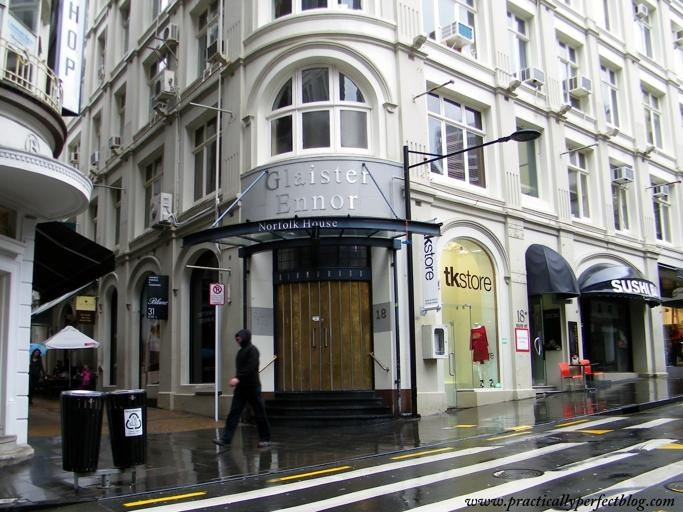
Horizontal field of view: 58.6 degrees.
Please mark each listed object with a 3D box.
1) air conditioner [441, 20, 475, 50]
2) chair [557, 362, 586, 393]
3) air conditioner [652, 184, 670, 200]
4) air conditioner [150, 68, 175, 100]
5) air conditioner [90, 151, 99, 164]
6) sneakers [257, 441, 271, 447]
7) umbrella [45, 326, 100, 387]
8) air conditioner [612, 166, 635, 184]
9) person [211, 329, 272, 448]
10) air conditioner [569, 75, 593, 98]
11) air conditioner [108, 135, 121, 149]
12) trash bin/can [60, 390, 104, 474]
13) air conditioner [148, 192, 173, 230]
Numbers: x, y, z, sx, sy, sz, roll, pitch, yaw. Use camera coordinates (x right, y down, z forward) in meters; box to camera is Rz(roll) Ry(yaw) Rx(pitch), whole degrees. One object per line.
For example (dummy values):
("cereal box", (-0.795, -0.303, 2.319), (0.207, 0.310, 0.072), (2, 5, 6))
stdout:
("air conditioner", (3.853, -7.421, 20.296), (1.262, 0.881, 0.663), (-17, 19, -19))
("chair", (8.077, 4.305, 21.552), (1.088, 1.007, 0.810), (1, -8, -20))
("air conditioner", (15.423, -3.146, 29.464), (0.668, 0.759, 0.365), (14, -22, -31))
("air conditioner", (-6.791, -6.555, 22.954), (0.818, 1.646, 1.357), (3, 31, -19))
("air conditioner", (-11.910, -4.731, 29.098), (0.270, 0.842, 0.740), (4, -6, -27))
("sneakers", (-1.620, 3.985, 12.765), (0.102, 0.108, 0.268), (-5, -19, 16))
("umbrella", (-9.858, 3.547, 21.895), (2.376, 2.227, 1.829), (2, -6, -34))
("air conditioner", (12.316, -3.583, 26.657), (0.916, 0.751, 1.343), (0, -2, 35))
("person", (-2.066, 2.785, 12.666), (1.057, 2.462, 0.957), (-1, -7, -10))
("air conditioner", (9.745, -7.037, 24.938), (0.885, 0.725, 0.607), (5, -10, -43))
("air conditioner", (-10.028, -5.022, 26.628), (0.418, 0.570, 0.770), (-5, -2, -32))
("trash bin/can", (-4.138, 2.814, 9.600), (0.667, 1.299, 0.328), (0, -7, -12))
("air conditioner", (-6.384, -1.630, 21.467), (0.882, 1.109, 0.525), (-9, -10, 43))
